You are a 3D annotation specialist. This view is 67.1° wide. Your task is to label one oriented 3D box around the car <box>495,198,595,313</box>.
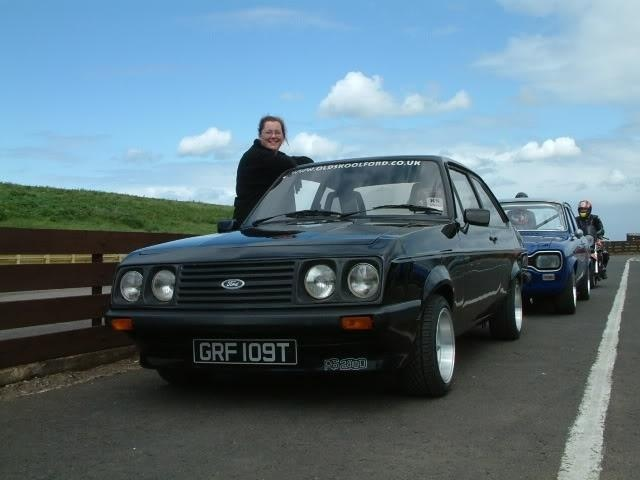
[{"bbox_3d":[4.928,0.278,10.079,2.335,1.711,4.035,-3,-6,29],"label":"car"}]
